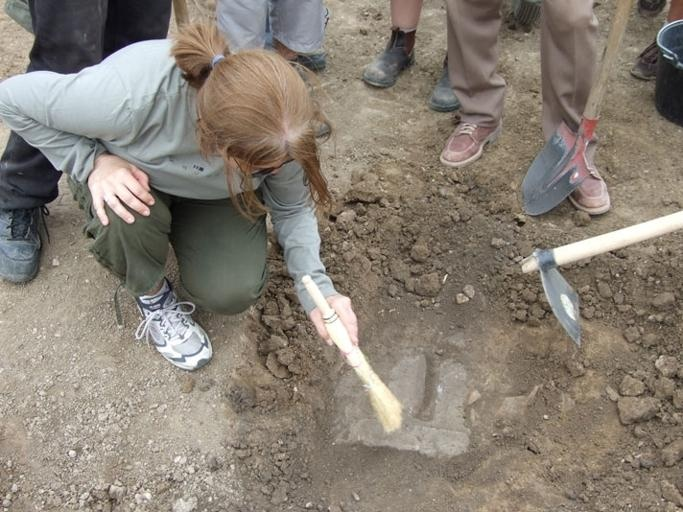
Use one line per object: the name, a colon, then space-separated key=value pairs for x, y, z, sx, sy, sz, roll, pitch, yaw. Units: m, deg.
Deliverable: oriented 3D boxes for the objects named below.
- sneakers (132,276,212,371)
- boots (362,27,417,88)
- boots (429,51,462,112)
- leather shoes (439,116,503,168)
sneakers: x=-0.840 y=0.340 z=3.004 sx=0.204 sy=0.244 sz=0.405 roll=-24 pitch=42 yaw=-30
boots: x=0.354 y=-1.350 z=4.256 sx=0.323 sy=0.379 sz=0.500 roll=7 pitch=40 yaw=14
boots: x=0.675 y=-1.127 z=4.066 sx=0.133 sy=0.241 sz=0.416 roll=4 pitch=67 yaw=6
leather shoes: x=0.741 y=-0.659 z=3.709 sx=0.181 sy=0.180 sz=0.484 roll=42 pitch=81 yaw=8
